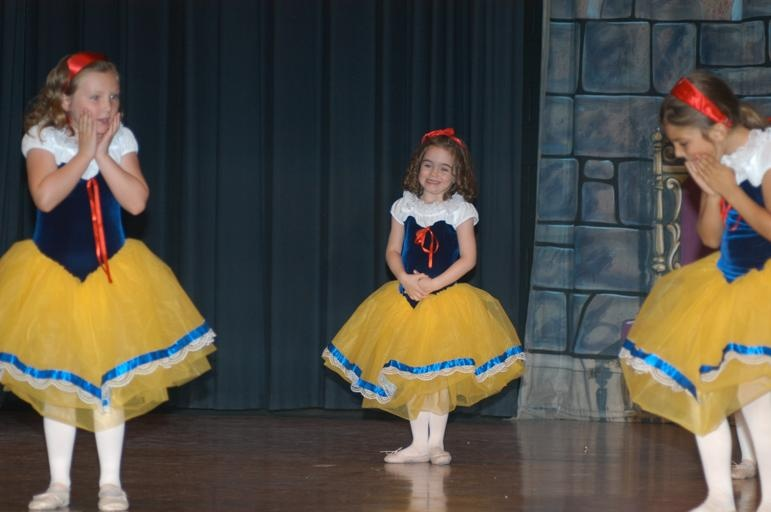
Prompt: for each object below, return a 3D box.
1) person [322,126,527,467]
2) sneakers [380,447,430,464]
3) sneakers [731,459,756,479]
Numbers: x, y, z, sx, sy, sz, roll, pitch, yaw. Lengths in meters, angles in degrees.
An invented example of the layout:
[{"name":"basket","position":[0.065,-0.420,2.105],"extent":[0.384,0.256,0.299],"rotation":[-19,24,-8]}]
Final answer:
[{"name":"person","position":[0.191,0.195,4.989],"extent":[0.702,1.535,0.647],"rotation":[-8,14,-37]},{"name":"sneakers","position":[0.092,0.944,5.019],"extent":[0.166,0.064,0.090],"rotation":[2,-13,0]},{"name":"sneakers","position":[1.623,0.967,4.832],"extent":[0.114,0.054,0.067],"rotation":[-1,-1,-28]}]
